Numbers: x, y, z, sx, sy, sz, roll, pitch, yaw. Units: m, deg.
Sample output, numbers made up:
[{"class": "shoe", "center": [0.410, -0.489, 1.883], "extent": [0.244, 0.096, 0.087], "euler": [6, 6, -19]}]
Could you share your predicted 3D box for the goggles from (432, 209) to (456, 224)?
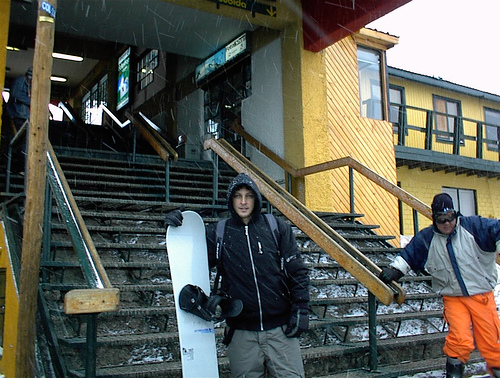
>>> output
[{"class": "goggles", "center": [1.882, 0.272, 4.731], "extent": [0.211, 0.134, 0.134], "euler": [-9, -15, 22]}]

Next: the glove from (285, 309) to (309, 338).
[{"class": "glove", "center": [0.375, 1.060, 3.848], "extent": [0.161, 0.218, 0.226], "euler": [16, -46, 2]}]

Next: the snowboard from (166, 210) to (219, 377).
[{"class": "snowboard", "center": [-0.509, 0.866, 4.121], "extent": [0.369, 1.616, 0.258], "euler": [-1, -12, -24]}]

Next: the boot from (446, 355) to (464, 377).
[{"class": "boot", "center": [1.962, 1.708, 4.684], "extent": [0.163, 0.189, 0.150], "euler": [-8, -14, 19]}]

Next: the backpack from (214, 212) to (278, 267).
[{"class": "backpack", "center": [-0.059, 0.319, 4.121], "extent": [0.490, 0.492, 0.403], "euler": [-4, -41, -11]}]

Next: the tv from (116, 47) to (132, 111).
[{"class": "tv", "center": [-4.380, -3.742, 16.897], "extent": [0.466, 1.896, 1.974], "euler": [3, -15, -25]}]
